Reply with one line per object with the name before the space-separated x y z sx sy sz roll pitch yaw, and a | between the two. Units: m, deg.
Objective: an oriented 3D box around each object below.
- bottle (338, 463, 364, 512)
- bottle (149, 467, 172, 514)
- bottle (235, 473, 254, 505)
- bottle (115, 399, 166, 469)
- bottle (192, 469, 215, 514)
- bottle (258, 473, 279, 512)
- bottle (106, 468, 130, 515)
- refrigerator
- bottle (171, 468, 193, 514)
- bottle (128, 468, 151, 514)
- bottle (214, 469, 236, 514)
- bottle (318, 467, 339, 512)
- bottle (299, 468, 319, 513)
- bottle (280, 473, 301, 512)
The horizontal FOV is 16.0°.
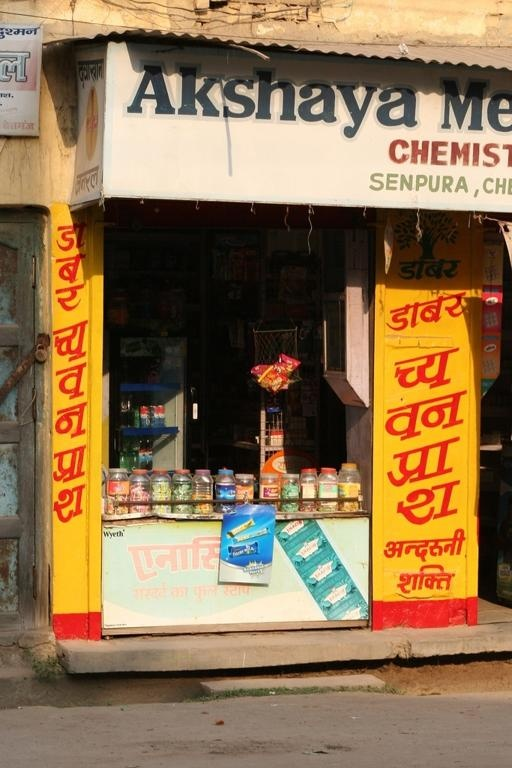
bottle | 0.591 0.652 11.479 0.154 0.292 0.184 -1 2 -4
bottle | -0.583 0.666 11.185 0.126 0.254 0.232 -1 2 -4
bottle | -0.063 0.666 11.377 0.135 0.250 0.146 0 -2 0
bottle | -0.808 0.369 12.594 0.370 0.673 0.453 -1 -7 8
bottle | -0.336 0.669 11.315 0.130 0.257 0.365 -1 2 -2
bottle | 0.085 0.672 11.375 0.138 0.222 0.285 -1 2 0
bottle | -0.858 0.656 11.105 0.165 0.265 0.199 -1 2 7
refrigerator | -0.810 0.157 12.709 0.542 1.152 0.354 -1 20 -14
bottle | -0.459 0.668 11.225 0.120 0.259 0.192 -1 2 -3
bottle | -0.714 0.663 11.139 0.135 0.255 0.212 -1 2 -4
bottle | -0.194 0.661 11.319 0.131 0.251 0.267 -1 2 -2
bottle | 0.452 0.665 11.435 0.124 0.264 0.195 -1 2 2
bottle | 0.331 0.666 11.423 0.111 0.256 0.142 -1 2 1
bottle | 0.209 0.680 11.377 0.125 0.232 0.128 -1 2 0
